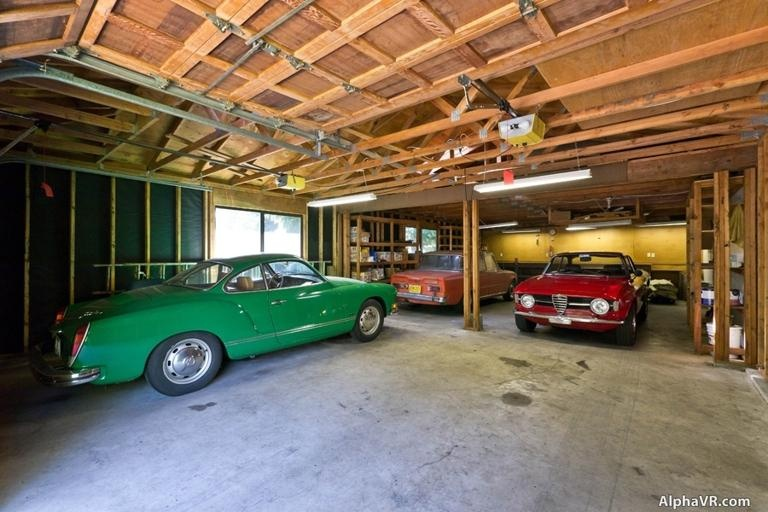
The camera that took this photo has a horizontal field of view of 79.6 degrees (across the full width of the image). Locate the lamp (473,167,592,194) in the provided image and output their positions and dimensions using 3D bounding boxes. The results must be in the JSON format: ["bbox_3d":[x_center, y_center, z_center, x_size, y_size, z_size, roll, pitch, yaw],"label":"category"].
[{"bbox_3d":[2.782,-1.412,8.769,1.953,0.342,1.689,2,7,16],"label":"lamp"}]

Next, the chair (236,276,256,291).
[{"bbox_3d":[-2.132,0.442,7.096,0.298,0.178,0.142,3,-14,-29],"label":"chair"}]

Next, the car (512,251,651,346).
[{"bbox_3d":[4.023,0.718,8.899,1.770,0.818,3.086,-5,-7,39],"label":"car"}]

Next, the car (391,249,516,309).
[{"bbox_3d":[1.963,0.514,11.633,3.349,0.794,1.401,-3,3,-45],"label":"car"}]

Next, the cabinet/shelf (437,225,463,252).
[{"bbox_3d":[2.563,-0.679,17.415,0.497,0.951,1.794,7,11,31],"label":"cabinet/shelf"}]

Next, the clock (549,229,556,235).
[{"bbox_3d":[6.395,-0.863,17.486,0.213,0.244,0.145,6,13,31],"label":"clock"}]
